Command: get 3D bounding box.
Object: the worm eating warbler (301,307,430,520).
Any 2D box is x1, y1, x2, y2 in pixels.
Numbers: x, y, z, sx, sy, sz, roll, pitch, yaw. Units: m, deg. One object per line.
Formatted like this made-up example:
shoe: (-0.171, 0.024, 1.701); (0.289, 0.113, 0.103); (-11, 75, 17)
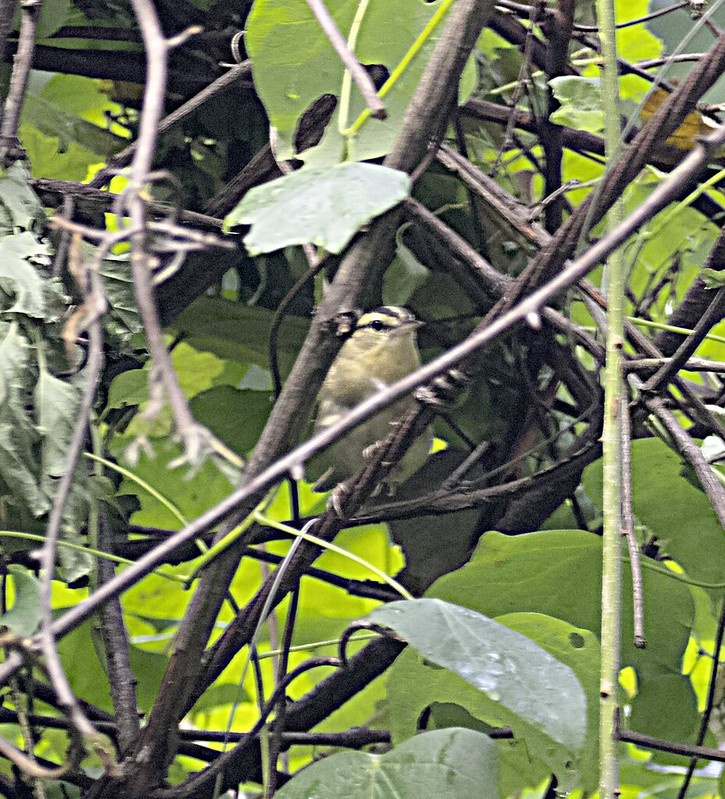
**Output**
worm eating warbler: (-0.002, 0.005, 2.284); (0.163, 0.251, 0.304); (0, -2, -27)
